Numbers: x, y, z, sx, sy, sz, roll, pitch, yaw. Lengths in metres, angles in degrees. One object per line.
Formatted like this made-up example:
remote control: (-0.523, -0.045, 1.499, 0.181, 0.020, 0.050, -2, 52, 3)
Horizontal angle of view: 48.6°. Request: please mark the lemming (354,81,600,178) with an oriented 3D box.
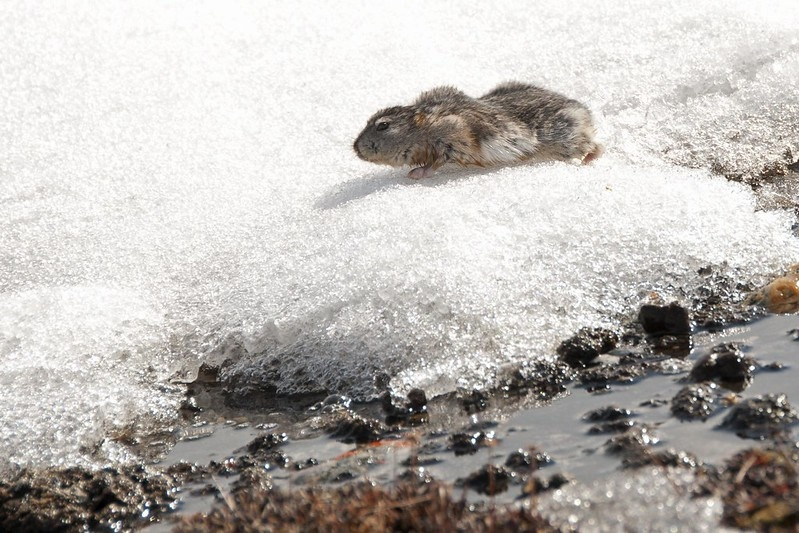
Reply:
lemming: (1.130, -2.188, 12.800, 4.583, 1.033, 3.366, -3, 21, 7)
